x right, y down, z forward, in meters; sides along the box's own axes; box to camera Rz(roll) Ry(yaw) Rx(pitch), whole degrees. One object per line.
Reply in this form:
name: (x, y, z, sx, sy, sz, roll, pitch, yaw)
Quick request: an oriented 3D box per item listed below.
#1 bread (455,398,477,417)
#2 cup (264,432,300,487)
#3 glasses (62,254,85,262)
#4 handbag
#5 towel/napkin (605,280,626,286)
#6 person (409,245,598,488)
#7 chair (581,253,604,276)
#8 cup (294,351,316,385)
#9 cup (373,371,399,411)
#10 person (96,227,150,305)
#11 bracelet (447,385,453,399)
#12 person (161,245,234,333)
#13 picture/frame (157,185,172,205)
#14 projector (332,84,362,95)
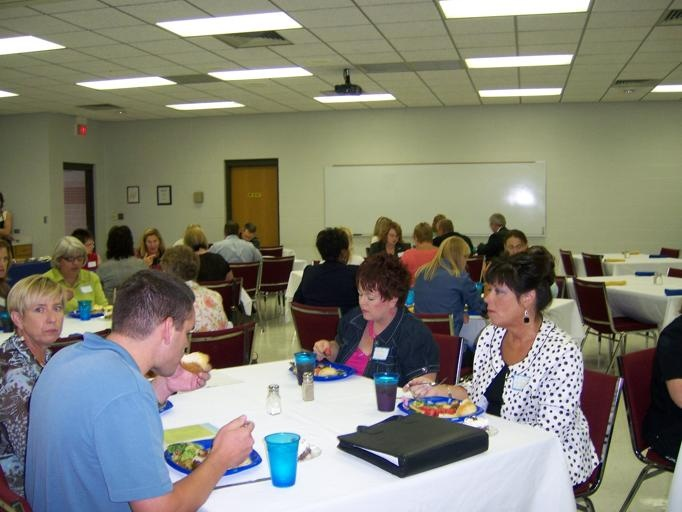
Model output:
bread: (0.450, 0.534, 1.930, 0.047, 0.033, 0.050, -3, -1, -6)
cup: (-0.171, 0.590, 1.587, 0.114, 0.149, 0.130, -1, -7, 2)
glasses: (-1.996, 0.023, 4.082, 0.162, 0.059, 0.082, -5, 6, -36)
handbag: (0.238, 0.590, 1.765, 0.461, 0.098, 0.269, -3, 5, -18)
towel/napkin: (2.653, 0.257, 5.270, 0.123, 0.036, 0.133, 1, 3, 17)
person: (0.770, 0.397, 2.745, 0.830, 1.399, 0.864, 3, 1, -22)
chair: (3.350, 0.115, 7.224, 0.271, 0.347, 0.219, -7, 11, -23)
cup: (-0.149, 0.476, 2.357, 0.113, 0.141, 0.118, 3, 5, 0)
cup: (0.158, 0.508, 2.074, 0.114, 0.139, 0.122, 0, -3, 0)
person: (-2.069, 0.184, 5.236, 0.374, 1.023, 0.335, 2, 28, -13)
bracelet: (0.462, 0.571, 2.306, 0.021, 0.042, 0.013, 0, -7, -10)
person: (-1.464, 0.243, 5.795, 0.512, 1.127, 0.453, -6, 9, 3)
picture/frame: (-3.619, -1.265, 11.221, 0.357, 0.467, 0.033, 0, 2, 2)
projector: (0.092, -2.147, 7.112, 0.182, 0.100, 0.255, 1, 6, 12)
